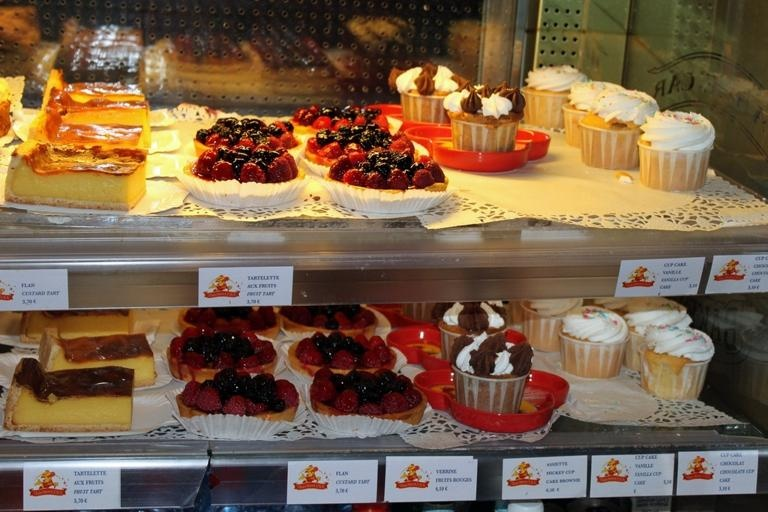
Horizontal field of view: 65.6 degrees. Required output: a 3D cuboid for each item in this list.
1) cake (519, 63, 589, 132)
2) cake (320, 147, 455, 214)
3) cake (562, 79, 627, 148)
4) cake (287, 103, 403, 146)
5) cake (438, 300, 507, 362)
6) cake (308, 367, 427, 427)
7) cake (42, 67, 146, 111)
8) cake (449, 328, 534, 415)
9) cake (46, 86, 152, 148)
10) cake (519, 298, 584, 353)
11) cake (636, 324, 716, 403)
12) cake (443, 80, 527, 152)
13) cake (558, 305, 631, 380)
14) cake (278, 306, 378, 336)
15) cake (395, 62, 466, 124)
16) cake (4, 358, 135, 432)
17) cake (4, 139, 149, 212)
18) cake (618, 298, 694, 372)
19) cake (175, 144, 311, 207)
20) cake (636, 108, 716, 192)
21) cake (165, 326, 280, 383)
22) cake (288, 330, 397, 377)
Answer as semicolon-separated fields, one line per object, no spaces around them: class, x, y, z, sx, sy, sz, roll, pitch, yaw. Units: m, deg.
cake;0.599;-0.568;2.167;0.326;0.251;0.269;7;16;20
cake;-0.005;-0.198;1.574;0.345;0.090;0.294;-1;22;-27
cake;0.659;-0.477;2.003;0.271;0.191;0.265;-3;11;-8
cake;-0.133;-0.486;2.233;0.448;0.110;0.416;-6;8;-37
cake;0.236;0.240;1.970;0.242;0.191;0.230;0;1;-7
cake;-0.073;0.402;1.703;0.343;0.081;0.289;9;16;-9
cake;-0.902;-0.496;1.892;0.303;0.077;0.209;-4;26;-18
cake;0.221;0.312;1.661;0.284;0.173;0.226;3;2;-20
cake;-0.818;-0.374;1.777;0.313;0.084;0.268;-6;32;-15
cake;0.531;0.218;2.006;0.288;0.154;0.258;2;6;7
cake;0.920;0.325;1.849;0.261;0.159;0.217;0;6;10
cake;0.304;-0.421;1.870;0.285;0.161;0.244;6;18;14
cake;0.697;0.281;1.938;0.245;0.160;0.216;-4;7;-18
cake;-0.195;0.218;2.044;0.213;0.049;0.186;1;1;30
cake;0.146;-0.574;2.126;0.290;0.164;0.258;-2;17;-7
cake;-0.836;0.367;1.606;0.370;0.122;0.177;1;27;-11
cake;-0.719;-0.190;1.406;0.274;0.071;0.171;0;24;-7
cake;0.848;0.253;1.990;0.246;0.177;0.268;-5;8;-42
cake;-0.368;-0.196;1.563;0.324;0.087;0.313;9;14;38
cake;0.757;-0.309;1.730;0.288;0.203;0.239;3;21;9
cake;-0.508;0.293;1.809;0.262;0.063;0.174;-3;18;-26
cake;-0.138;0.302;1.867;0.231;0.052;0.181;1;8;7
